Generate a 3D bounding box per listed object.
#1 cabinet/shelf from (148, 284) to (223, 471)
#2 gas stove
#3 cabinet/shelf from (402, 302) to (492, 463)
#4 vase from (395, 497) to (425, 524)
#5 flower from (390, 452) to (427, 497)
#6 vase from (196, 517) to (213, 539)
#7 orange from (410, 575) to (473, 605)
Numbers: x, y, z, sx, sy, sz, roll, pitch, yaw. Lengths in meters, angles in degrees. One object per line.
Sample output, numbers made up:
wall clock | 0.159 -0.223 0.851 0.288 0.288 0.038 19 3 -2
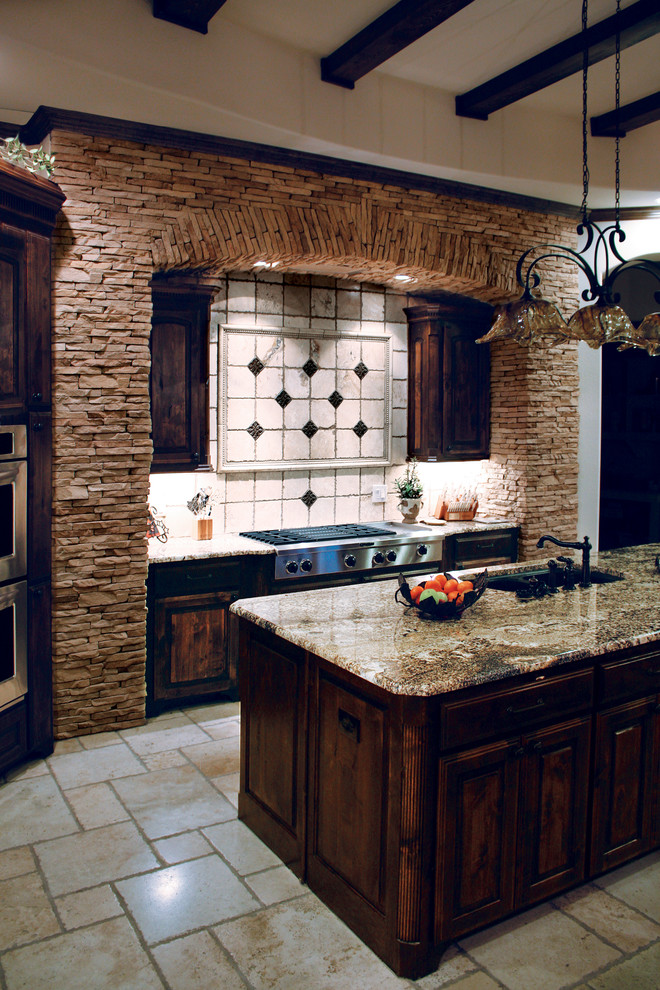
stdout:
cabinet/shelf | -0.870 -0.719 4.456 0.361 1.149 0.155 -1 3 -23
gas stove | 0.087 0.365 4.959 1.381 0.261 0.498 -2 3 -37
cabinet/shelf | 0.873 -0.835 5.671 0.648 1.142 0.378 0 3 -2
vase | 0.577 0.090 5.618 0.215 0.211 0.165 -1 3 -35
flower | 0.597 -0.126 5.668 0.247 0.339 0.254 1 0 16
vase | -0.764 0.202 4.725 0.113 0.167 0.111 -1 1 -45
orange | 0.379 0.337 2.725 0.209 0.085 0.224 -1 3 -20
